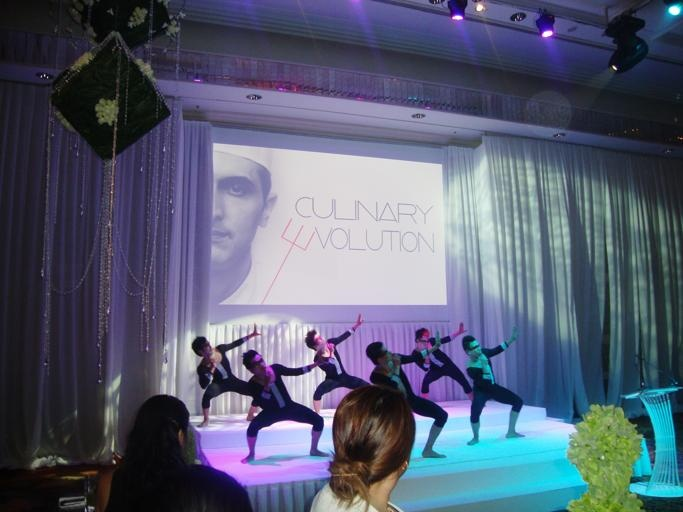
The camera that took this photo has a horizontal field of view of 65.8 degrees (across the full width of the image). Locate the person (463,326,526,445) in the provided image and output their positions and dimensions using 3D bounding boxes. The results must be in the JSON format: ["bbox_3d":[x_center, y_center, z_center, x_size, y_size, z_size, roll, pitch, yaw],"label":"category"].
[{"bbox_3d":[1.584,1.342,5.587,0.653,1.141,0.656,1,-8,1],"label":"person"}]

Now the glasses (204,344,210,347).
[{"bbox_3d":[-1.389,0.932,5.494,0.032,0.025,0.032,2,-6,-36],"label":"glasses"}]

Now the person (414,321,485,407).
[{"bbox_3d":[1.113,1.255,5.903,0.659,1.116,0.384,-8,-37,12],"label":"person"}]

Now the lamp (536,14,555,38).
[{"bbox_3d":[2.289,-2.603,5.909,0.223,0.291,0.171,1,-8,-1],"label":"lamp"}]

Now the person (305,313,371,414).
[{"bbox_3d":[-0.046,1.243,5.627,0.673,1.281,0.448,-4,16,13],"label":"person"}]

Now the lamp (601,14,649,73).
[{"bbox_3d":[3.126,-2.421,5.835,0.339,0.748,0.410,7,-10,-37],"label":"lamp"}]

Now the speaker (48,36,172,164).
[{"bbox_3d":[-1.409,-0.961,3.235,0.533,0.620,0.397,-1,-8,12],"label":"speaker"}]
